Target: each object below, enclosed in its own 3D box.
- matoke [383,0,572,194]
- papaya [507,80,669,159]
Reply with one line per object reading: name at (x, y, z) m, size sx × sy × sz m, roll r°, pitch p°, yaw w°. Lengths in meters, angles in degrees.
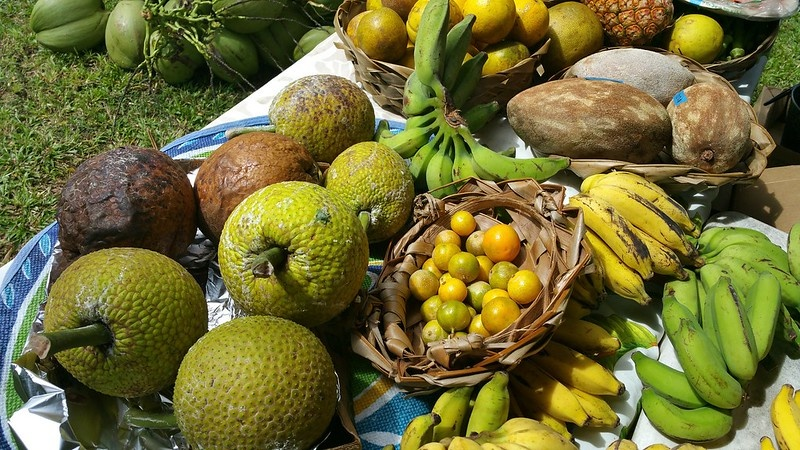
matoke at (0.309, -0.611, 3.679) m, size 0.964 × 0.441 × 0.870 m, roll -44°, pitch 93°, yaw -13°
papaya at (0.945, -0.501, 3.357) m, size 0.634 × 0.400 × 0.359 m, roll 10°, pitch 66°, yaw 4°
